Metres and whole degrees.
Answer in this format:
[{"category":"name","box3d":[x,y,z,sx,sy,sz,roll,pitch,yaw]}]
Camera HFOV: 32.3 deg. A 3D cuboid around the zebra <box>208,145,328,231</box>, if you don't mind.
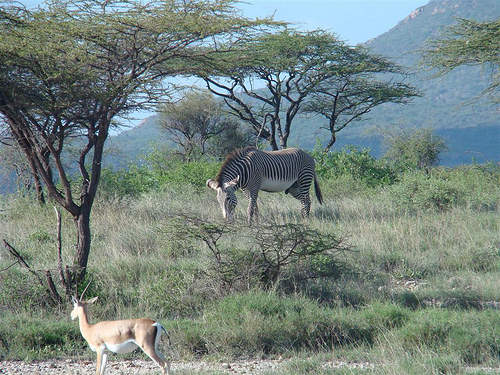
[{"category":"zebra","box3d":[0.541,0.025,24.891,3.771,2.212,0.991,-3,-3,-35]}]
